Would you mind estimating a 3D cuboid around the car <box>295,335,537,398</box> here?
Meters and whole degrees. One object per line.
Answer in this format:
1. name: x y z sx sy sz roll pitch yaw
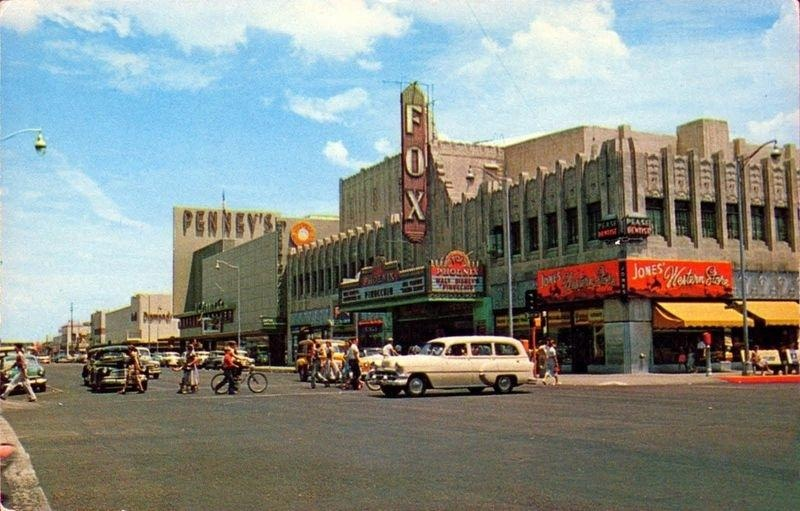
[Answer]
1. car: 2.200 4.768 34.049 6.312 2.096 2.849 3 -11 -18
